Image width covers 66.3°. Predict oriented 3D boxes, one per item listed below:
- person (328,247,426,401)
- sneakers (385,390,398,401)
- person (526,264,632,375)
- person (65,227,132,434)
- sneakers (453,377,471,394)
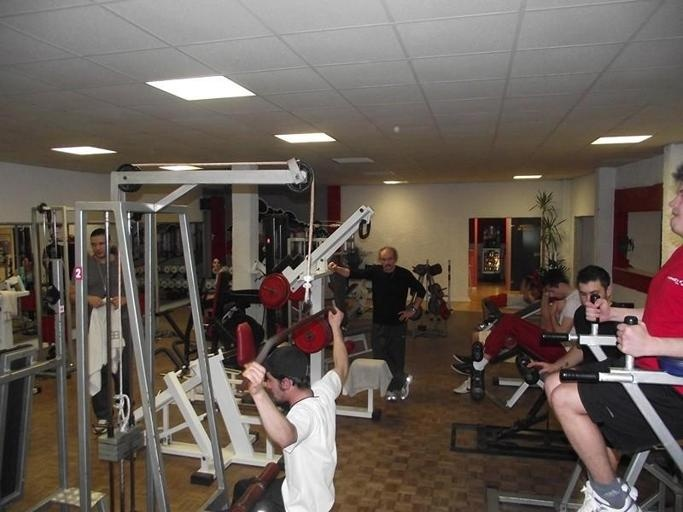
[{"bbox_3d":[0.475,0.900,6.903,1.242,1.966,0.505,-2,0,4],"label":"person"},{"bbox_3d":[0.614,1.706,6.347,0.150,0.091,0.200,-1,-4,5],"label":"sneakers"},{"bbox_3d":[2.153,0.508,4.545,0.413,0.773,0.720,1,5,5],"label":"person"},{"bbox_3d":[-2.585,0.858,5.781,0.588,2.287,0.504,-3,14,-16],"label":"person"},{"bbox_3d":[1.625,1.730,7.014,0.223,0.170,0.224,-1,3,16],"label":"sneakers"}]
